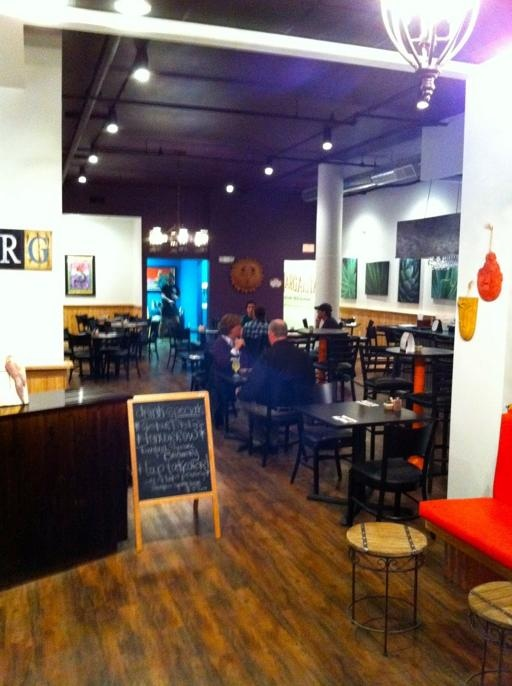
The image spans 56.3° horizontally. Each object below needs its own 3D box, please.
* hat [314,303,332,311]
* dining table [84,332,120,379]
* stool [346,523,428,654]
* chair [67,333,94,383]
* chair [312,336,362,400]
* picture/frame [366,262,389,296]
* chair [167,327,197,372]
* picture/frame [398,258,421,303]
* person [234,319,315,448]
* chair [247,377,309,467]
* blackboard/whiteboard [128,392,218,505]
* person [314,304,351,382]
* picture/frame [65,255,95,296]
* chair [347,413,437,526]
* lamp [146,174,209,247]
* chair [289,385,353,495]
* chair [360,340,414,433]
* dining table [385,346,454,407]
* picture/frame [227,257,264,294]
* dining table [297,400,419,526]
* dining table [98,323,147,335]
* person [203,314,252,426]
[{"bbox_3d":[1.185,-0.634,8.535,0.170,0.152,0.251,0,4,-41],"label":"hat"},{"bbox_3d":[-2.939,0.210,9.240,0.658,0.980,0.805,-4,10,-27],"label":"dining table"},{"bbox_3d":[0.561,1.028,2.028,0.298,0.499,0.314,5,7,39],"label":"stool"},{"bbox_3d":[-3.231,0.233,8.938,0.349,0.910,0.505,1,11,-11],"label":"chair"},{"bbox_3d":[1.363,0.413,7.495,0.469,1.202,0.659,-1,10,2],"label":"chair"},{"bbox_3d":[2.972,-1.567,11.649,0.056,0.770,0.649,0,9,-15],"label":"picture/frame"},{"bbox_3d":[-1.616,0.162,10.365,0.570,1.401,0.767,3,11,7],"label":"chair"},{"bbox_3d":[3.382,-1.356,10.555,0.184,1.000,0.757,0,1,-11],"label":"picture/frame"},{"bbox_3d":[0.183,0.375,4.712,0.520,1.353,0.728,-4,12,-15],"label":"person"},{"bbox_3d":[0.239,0.607,4.642,0.346,0.907,0.468,-1,18,2],"label":"chair"},{"bbox_3d":[-0.516,0.641,2.966,0.514,0.041,0.732,3,46,-21],"label":"blackboard/whiteboard"},{"bbox_3d":[1.156,0.091,8.391,0.460,0.920,0.614,-9,50,-7],"label":"person"},{"bbox_3d":[-5.179,-1.982,13.959,0.834,1.609,0.131,-1,4,-16],"label":"picture/frame"},{"bbox_3d":[0.869,0.834,3.102,0.408,0.896,0.505,3,11,4],"label":"chair"},{"bbox_3d":[-2.049,-3.463,12.011,1.391,2.388,1.769,2,3,4],"label":"lamp"},{"bbox_3d":[0.499,0.730,3.907,0.326,0.836,0.404,-3,5,-29],"label":"chair"},{"bbox_3d":[1.819,0.613,6.829,0.582,1.199,0.740,0,-2,13],"label":"chair"},{"bbox_3d":[1.799,0.365,5.308,0.382,0.596,0.481,-4,22,6],"label":"dining table"},{"bbox_3d":[-0.266,-1.882,13.460,0.914,0.911,0.203,0,1,-6],"label":"picture/frame"},{"bbox_3d":[0.773,0.875,3.389,0.608,0.704,0.729,-17,-7,18],"label":"dining table"},{"bbox_3d":[-2.948,-0.369,10.653,0.754,0.331,1.757,1,1,-7],"label":"dining table"},{"bbox_3d":[-0.349,0.304,5.513,0.318,1.317,0.460,2,3,-4],"label":"person"}]
